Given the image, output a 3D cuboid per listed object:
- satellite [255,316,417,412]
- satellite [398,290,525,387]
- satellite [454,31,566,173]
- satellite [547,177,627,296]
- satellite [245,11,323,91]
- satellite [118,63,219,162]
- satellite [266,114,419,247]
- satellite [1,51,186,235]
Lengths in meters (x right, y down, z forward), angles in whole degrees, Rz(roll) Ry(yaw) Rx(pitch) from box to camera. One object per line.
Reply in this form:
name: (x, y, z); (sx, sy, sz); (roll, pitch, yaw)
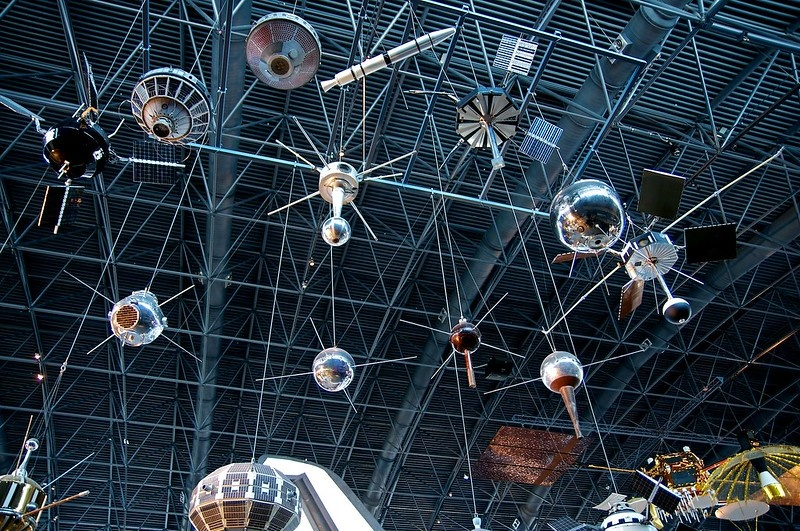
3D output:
satellite: (-1.658, 3.608, 33.519); (4.713, 1.053, 4.232); (-7, -59, 8)
satellite: (2.496, 2.765, 41.977); (3.014, 2.850, 2.954); (41, -79, -6)
satellite: (2.982, -4.756, 31.507); (2.845, 1.220, 4.197); (-33, -57, 24)
satellite: (5.611, -1.403, 29.966); (1.961, 2.175, 2.267); (7, -62, 10)
satellite: (-3.374, -6.389, 30.205); (2.402, 0.816, 2.198); (17, -67, -9)
satellite: (-6.786, -4.810, 31.029); (2.486, 2.081, 2.350); (-16, -54, 33)
satellite: (-1.804, -2.117, 31.099); (4.123, 3.515, 3.357); (10, -59, 9)
satellite: (-9.720, -3.872, 32.990); (6.338, 4.001, 5.717); (-9, -71, 10)
